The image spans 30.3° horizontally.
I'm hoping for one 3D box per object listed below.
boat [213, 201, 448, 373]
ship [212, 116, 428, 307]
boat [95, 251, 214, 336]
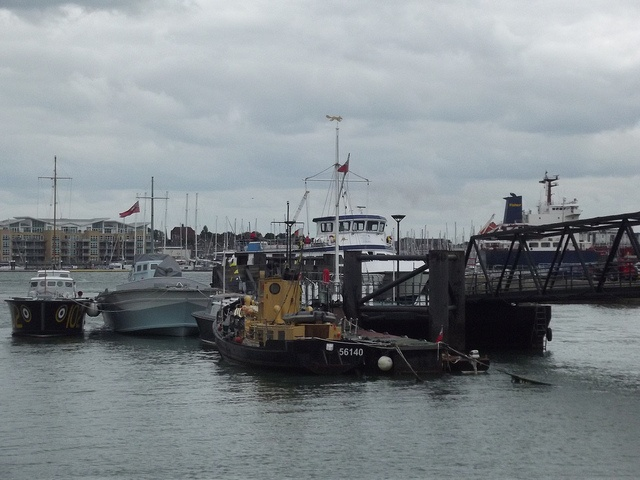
[{"bbox_3d":[-1.052,4.106,56.679,4.365,6.086,12.781,1,-3,-37],"label":"boat"},{"bbox_3d":[4.729,-0.267,68.933,6.047,10.903,19.144,-1,-1,-23],"label":"ship"},{"bbox_3d":[-8.224,2.975,68.426,5.664,4.986,6.924,-2,-1,-33],"label":"boat"}]
